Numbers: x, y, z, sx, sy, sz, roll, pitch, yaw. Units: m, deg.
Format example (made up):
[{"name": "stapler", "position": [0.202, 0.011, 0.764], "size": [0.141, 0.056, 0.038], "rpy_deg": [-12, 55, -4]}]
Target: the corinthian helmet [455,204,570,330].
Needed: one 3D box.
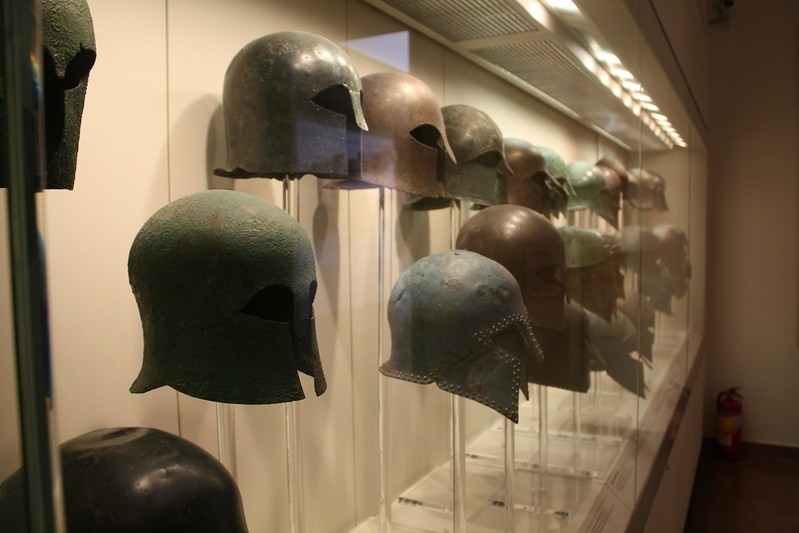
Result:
[{"name": "corinthian helmet", "position": [0.295, -0.024, 1.945], "size": [0.270, 0.322, 0.214], "rpy_deg": [10, 23, 38]}]

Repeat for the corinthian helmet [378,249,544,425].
[{"name": "corinthian helmet", "position": [0.144, 0.135, 1.757], "size": [0.331, 0.400, 0.280], "rpy_deg": [5, 15, 25]}]

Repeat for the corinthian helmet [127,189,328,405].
[{"name": "corinthian helmet", "position": [-0.379, 0.053, 1.572], "size": [0.362, 0.435, 0.301], "rpy_deg": [1, 2, 6]}]

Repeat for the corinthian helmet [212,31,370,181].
[{"name": "corinthian helmet", "position": [-0.253, -0.359, 1.734], "size": [0.332, 0.350, 0.273], "rpy_deg": [0, -3, 7]}]

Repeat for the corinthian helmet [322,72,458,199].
[{"name": "corinthian helmet", "position": [-0.011, -0.311, 1.814], "size": [0.271, 0.301, 0.216], "rpy_deg": [3, 4, 15]}]

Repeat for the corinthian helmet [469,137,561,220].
[{"name": "corinthian helmet", "position": [0.350, -0.226, 2.022], "size": [0.189, 0.227, 0.141], "rpy_deg": [12, 14, 39]}]

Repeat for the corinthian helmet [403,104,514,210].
[{"name": "corinthian helmet", "position": [0.165, -0.284, 1.953], "size": [0.224, 0.252, 0.193], "rpy_deg": [12, 9, 29]}]
